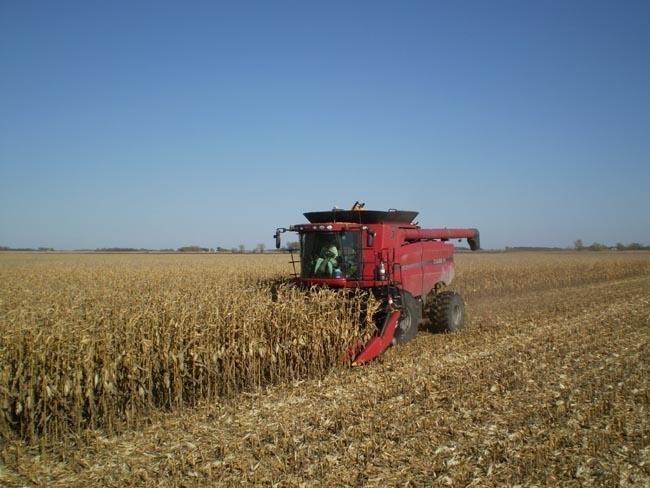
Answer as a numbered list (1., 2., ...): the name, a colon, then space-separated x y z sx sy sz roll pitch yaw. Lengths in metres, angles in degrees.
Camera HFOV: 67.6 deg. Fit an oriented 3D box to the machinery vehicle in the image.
1. machinery vehicle: 1.200 0.740 12.334 2.918 2.420 5.634 -3 -4 39
